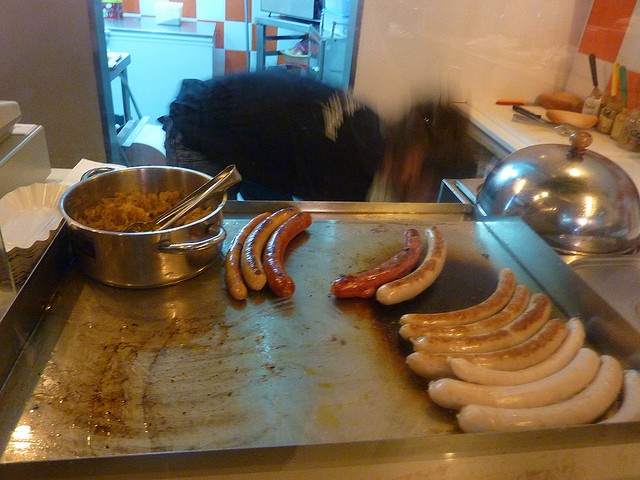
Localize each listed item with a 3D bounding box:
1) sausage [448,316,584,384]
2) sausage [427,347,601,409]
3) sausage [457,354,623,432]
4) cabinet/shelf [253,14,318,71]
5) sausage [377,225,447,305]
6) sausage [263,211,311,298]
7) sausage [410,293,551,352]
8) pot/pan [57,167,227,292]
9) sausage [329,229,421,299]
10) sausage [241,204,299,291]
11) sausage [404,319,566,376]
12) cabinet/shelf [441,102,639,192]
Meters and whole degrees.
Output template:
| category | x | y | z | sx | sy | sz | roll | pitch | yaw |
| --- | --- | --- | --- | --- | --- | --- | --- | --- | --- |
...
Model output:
| category | x | y | z | sx | sy | sz | roll | pitch | yaw |
| --- | --- | --- | --- | --- | --- | --- | --- | --- | --- |
| sausage | 0.497 | 0.286 | 1.073 | 0.103 | 0.343 | 0.059 | 44 | 45 | -4 |
| sausage | 0.434 | 0.313 | 1.018 | 0.408 | 0.078 | 0.126 | -7 | 15 | -13 |
| sausage | 0.503 | 0.335 | 0.992 | 0.397 | 0.073 | 0.126 | -9 | 13 | -17 |
| cabinet/shelf | -0.151 | -0.695 | 1.613 | 0.211 | 0.169 | 0.174 | -10 | 55 | -24 |
| sausage | 0.274 | 0.072 | 1.347 | 0.147 | 0.076 | 0.409 | 9 | 28 | 17 |
| sausage | -0.103 | 0.021 | 1.319 | 0.123 | 0.058 | 0.324 | 14 | 48 | -1 |
| sausage | 0.402 | 0.208 | 1.133 | 0.400 | 0.098 | 0.074 | -10 | 2 | -15 |
| pot/pan | -0.477 | -0.043 | 1.262 | 0.410 | 0.169 | 0.517 | -16 | 39 | -28 |
| sausage | 0.192 | 0.067 | 1.302 | 0.120 | 0.077 | 0.373 | 26 | 47 | 37 |
| sausage | -0.168 | 0.029 | 1.325 | 0.150 | 0.081 | 0.391 | 2 | 26 | 1 |
| sausage | 0.384 | 0.255 | 1.064 | 0.329 | 0.076 | 0.064 | -10 | 8 | -9 |
| cabinet/shelf | 0.985 | -0.402 | 2.187 | 0.580 | 0.164 | 0.765 | -8 | 42 | -20 |
